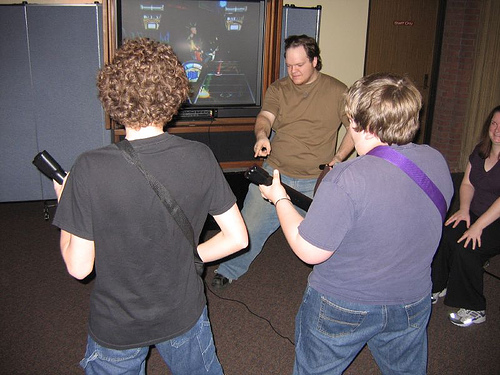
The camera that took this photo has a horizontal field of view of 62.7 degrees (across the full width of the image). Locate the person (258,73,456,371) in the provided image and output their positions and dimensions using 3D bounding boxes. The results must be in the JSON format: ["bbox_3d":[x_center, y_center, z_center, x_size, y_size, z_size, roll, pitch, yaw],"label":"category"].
[{"bbox_3d":[0.457,0.188,1.662,0.617,1.196,0.325,-3,22,-8],"label":"person"}]

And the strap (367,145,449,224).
[{"bbox_3d":[0.615,-0.010,1.580,0.335,0.286,0.098,4,22,9],"label":"strap"}]

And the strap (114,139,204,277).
[{"bbox_3d":[-0.327,0.105,1.528,0.288,0.560,0.148,-3,22,-7],"label":"strap"}]

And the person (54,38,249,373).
[{"bbox_3d":[-0.362,0.123,1.550,0.670,1.266,0.404,-11,24,-25],"label":"person"}]
